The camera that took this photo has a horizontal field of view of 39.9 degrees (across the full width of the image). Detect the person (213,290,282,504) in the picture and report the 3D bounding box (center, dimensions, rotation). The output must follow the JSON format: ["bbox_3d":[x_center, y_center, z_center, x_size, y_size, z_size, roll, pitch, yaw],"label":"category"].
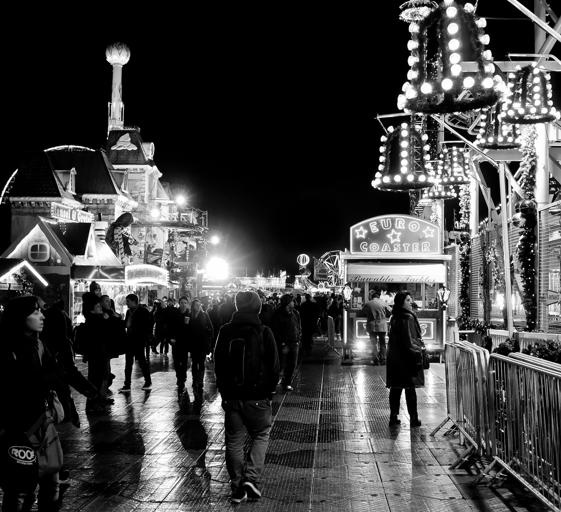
[{"bbox_3d":[-0.303,1.327,7.571,0.605,1.975,0.515,-1,-4,-14],"label":"person"}]

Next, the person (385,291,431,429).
[{"bbox_3d":[1.852,1.475,11.313,0.607,1.922,0.579,-2,-4,7],"label":"person"}]

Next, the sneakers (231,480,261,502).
[{"bbox_3d":[-0.321,2.212,7.319,0.129,0.145,0.341,-2,-6,16],"label":"sneakers"}]
